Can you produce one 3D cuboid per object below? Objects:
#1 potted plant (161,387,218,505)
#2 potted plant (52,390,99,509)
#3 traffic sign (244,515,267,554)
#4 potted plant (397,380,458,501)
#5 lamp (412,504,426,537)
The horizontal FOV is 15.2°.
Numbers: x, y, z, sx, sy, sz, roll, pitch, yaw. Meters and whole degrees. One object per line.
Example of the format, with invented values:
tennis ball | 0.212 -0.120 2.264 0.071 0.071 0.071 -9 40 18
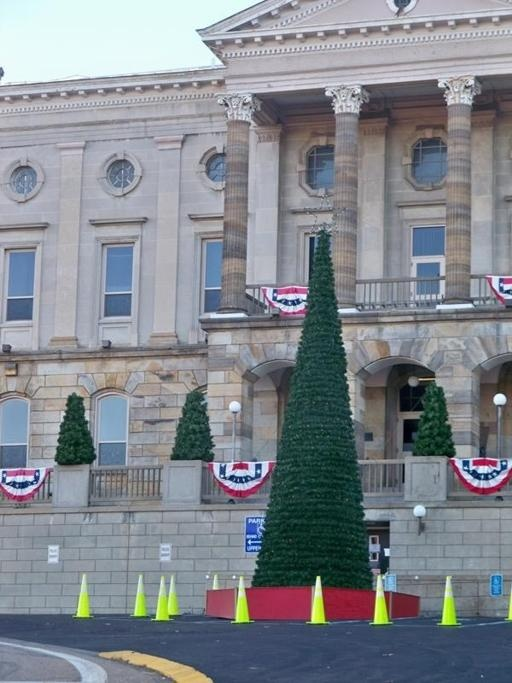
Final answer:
potted plant | -1.541 2.316 41.042 1.050 2.552 0.638 -1 -12 -1
potted plant | -4.080 2.379 41.816 0.895 2.574 0.630 0 -12 -6
traffic sign | -0.045 4.028 39.756 0.348 0.824 0.551 3 -12 -20
potted plant | 3.497 2.064 39.057 0.939 2.468 0.512 -9 -14 30
lamp | 3.313 3.581 38.604 0.289 0.627 0.651 -3 -11 4
